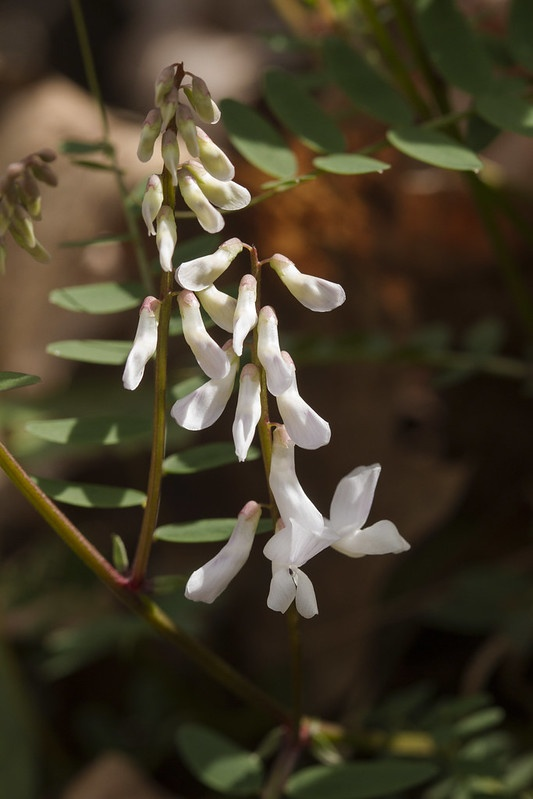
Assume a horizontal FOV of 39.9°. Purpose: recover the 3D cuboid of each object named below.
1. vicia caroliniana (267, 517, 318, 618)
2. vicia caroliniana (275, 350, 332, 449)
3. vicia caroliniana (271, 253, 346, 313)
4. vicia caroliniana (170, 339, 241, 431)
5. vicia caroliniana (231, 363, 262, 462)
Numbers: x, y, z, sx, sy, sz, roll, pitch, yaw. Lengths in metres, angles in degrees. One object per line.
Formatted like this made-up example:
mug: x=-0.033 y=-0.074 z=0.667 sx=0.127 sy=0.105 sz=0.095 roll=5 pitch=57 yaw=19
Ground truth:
vicia caroliniana: x=0.028 y=0.212 z=0.929 sx=0.086 sy=0.073 sz=0.125 roll=8 pitch=72 yaw=-7
vicia caroliniana: x=0.037 y=0.006 z=0.932 sx=0.057 sy=0.039 sz=0.155 roll=-8 pitch=35 yaw=-10
vicia caroliniana: x=0.060 y=-0.136 z=0.910 sx=0.104 sy=0.051 sz=0.045 roll=40 pitch=9 yaw=12
vicia caroliniana: x=-0.071 y=-0.020 z=0.892 sx=0.063 sy=0.116 sz=0.030 roll=35 pitch=4 yaw=-8
vicia caroliniana: x=-0.023 y=0.014 z=0.870 sx=0.035 sy=0.040 sz=0.115 roll=10 pitch=56 yaw=-4
